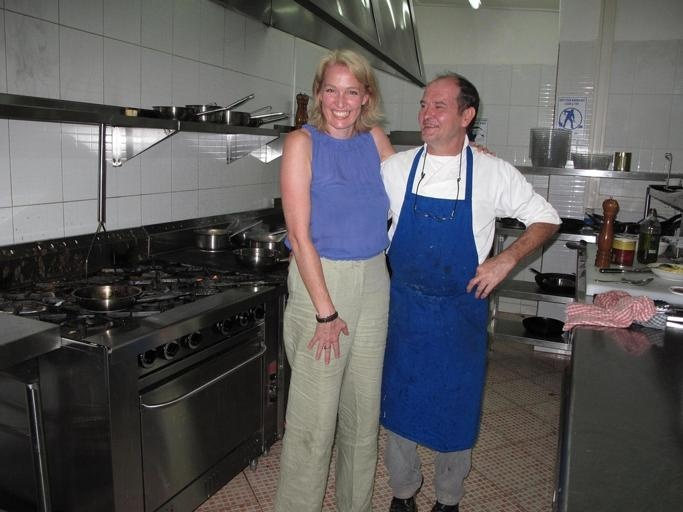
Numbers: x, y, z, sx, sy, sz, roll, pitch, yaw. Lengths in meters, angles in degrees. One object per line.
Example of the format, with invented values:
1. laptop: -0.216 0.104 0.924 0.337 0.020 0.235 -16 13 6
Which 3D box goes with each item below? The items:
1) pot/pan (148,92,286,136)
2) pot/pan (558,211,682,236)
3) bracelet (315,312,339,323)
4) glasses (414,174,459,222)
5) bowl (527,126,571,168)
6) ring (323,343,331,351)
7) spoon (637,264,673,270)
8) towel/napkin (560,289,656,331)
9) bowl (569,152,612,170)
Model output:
1. pot/pan: -0.562 -0.713 2.540 0.281 0.146 0.710 3 10 29
2. pot/pan: 2.038 -0.230 3.732 0.482 0.164 0.259 5 16 15
3. bracelet: -0.051 0.215 1.780 0.075 0.038 0.029 -3 9 -4
4. glasses: 0.383 -0.212 1.900 0.153 0.161 0.042 3 4 0
5. bowl: 1.761 -0.899 4.380 0.346 0.366 0.372 1 1 0
6. ring: -0.052 0.321 1.800 0.018 0.015 0.025 1 4 0
7. spoon: 1.643 0.057 2.675 0.079 0.017 0.079 -12 0 -23
8. towel/napkin: 0.991 0.196 1.984 0.333 0.115 0.296 -3 9 -2
9. bowl: 2.023 -0.758 4.148 0.272 0.101 0.197 4 5 16
